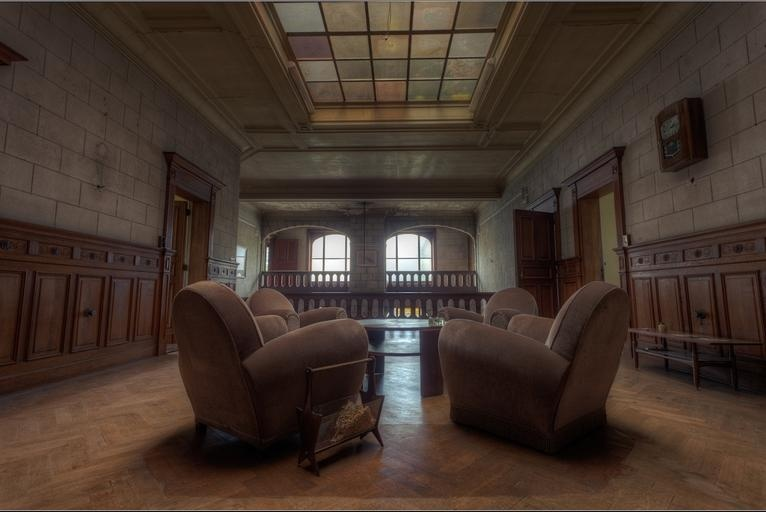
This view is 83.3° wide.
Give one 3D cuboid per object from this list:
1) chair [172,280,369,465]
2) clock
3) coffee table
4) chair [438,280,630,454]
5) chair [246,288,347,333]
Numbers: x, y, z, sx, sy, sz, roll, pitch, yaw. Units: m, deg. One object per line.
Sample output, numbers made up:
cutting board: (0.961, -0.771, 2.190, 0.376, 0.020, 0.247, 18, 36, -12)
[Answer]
chair: (-1.031, 0.908, 3.820, 1.413, 1.295, 1.371, -2, 0, 38)
clock: (3.494, -1.415, 5.025, 0.329, 0.806, 0.541, 0, 15, 0)
coffee table: (0.185, 1.067, 4.542, 0.810, 0.415, 0.809, -2, -4, 11)
chair: (1.375, 0.883, 3.895, 1.424, 1.278, 1.458, 2, -2, -28)
chair: (-1.097, 0.601, 4.950, 0.655, 0.644, 0.674, -6, -9, 5)
